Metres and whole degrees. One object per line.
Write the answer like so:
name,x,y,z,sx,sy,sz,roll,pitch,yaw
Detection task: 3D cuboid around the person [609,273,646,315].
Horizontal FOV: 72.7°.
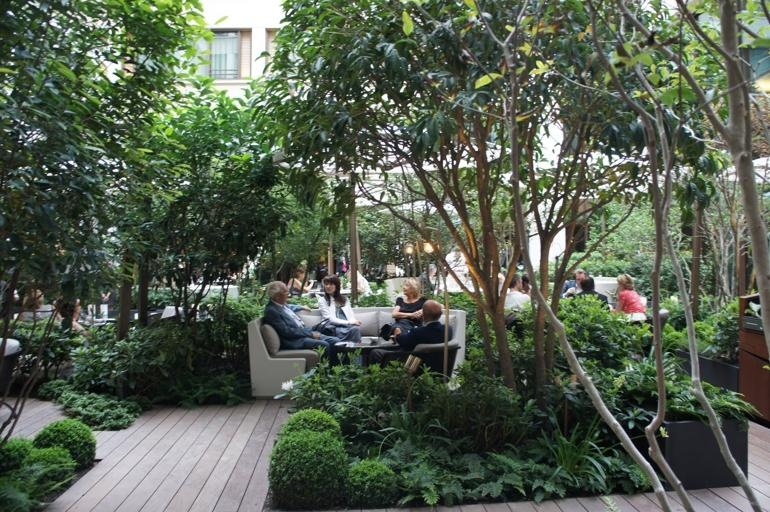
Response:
person,4.179,0.736,9.020,0.480,0.842,0.586,-4,0,-29

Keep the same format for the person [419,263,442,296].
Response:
person,1.239,0.635,14.467,0.447,1.331,0.477,-9,17,-16

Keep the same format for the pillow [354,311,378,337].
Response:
pillow,-0.340,1.195,9.017,0.418,0.342,0.156,-1,-10,-3

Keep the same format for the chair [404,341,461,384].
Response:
chair,0.533,1.209,6.029,0.567,0.502,0.577,0,4,-23

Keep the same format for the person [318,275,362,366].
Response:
person,-0.714,1.073,8.610,0.590,1.474,0.850,-4,1,-38

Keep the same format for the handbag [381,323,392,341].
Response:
handbag,0.026,1.149,7.825,0.204,0.208,0.086,5,5,37

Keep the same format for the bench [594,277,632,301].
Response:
bench,5.004,0.751,11.507,0.581,0.650,0.936,1,-6,16

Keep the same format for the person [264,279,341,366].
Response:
person,-1.273,1.174,8.223,1.127,1.553,1.287,-3,3,10

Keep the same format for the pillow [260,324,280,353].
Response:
pillow,-1.682,1.218,7.581,0.135,0.244,0.374,-9,5,-7

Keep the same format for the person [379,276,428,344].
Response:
person,0.300,0.934,8.022,0.693,1.160,0.896,0,-1,27
